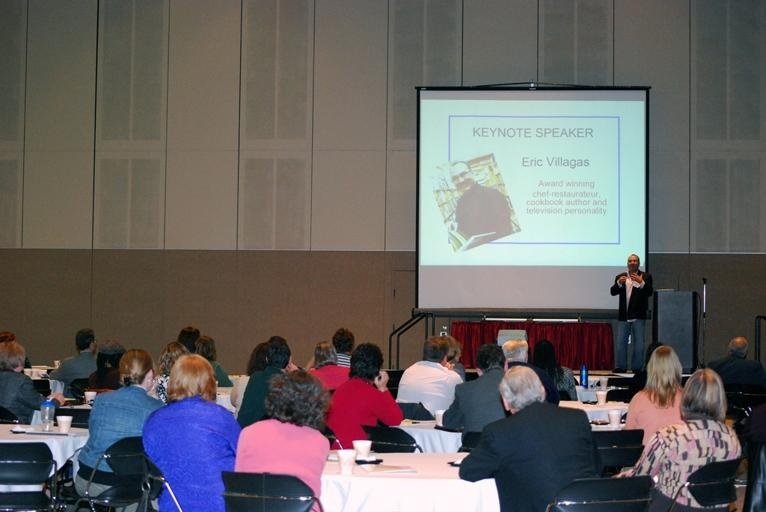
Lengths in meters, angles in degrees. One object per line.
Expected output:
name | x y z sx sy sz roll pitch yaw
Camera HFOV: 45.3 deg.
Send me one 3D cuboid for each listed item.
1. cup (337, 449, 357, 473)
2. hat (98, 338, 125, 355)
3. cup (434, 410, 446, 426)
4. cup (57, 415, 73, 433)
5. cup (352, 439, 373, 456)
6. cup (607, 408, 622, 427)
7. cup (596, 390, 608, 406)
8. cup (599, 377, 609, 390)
cup | -0.379 2.183 9.738 0.205 0.249 0.217 0 -3 0
hat | -3.856 1.335 13.256 0.420 0.160 0.408 6 -4 -42
cup | 0.698 1.992 11.233 0.155 0.185 0.164 1 -4 0
cup | -3.790 2.004 10.946 0.183 0.207 0.186 0 -6 0
cup | -0.211 2.077 9.952 0.181 0.159 0.180 0 -3 0
cup | 2.853 1.994 11.301 0.179 0.210 0.187 1 -1 0
cup | 2.864 1.873 12.049 0.156 0.189 0.162 0 -1 0
cup | 3.131 1.792 12.878 0.164 0.200 0.171 1 -3 0
